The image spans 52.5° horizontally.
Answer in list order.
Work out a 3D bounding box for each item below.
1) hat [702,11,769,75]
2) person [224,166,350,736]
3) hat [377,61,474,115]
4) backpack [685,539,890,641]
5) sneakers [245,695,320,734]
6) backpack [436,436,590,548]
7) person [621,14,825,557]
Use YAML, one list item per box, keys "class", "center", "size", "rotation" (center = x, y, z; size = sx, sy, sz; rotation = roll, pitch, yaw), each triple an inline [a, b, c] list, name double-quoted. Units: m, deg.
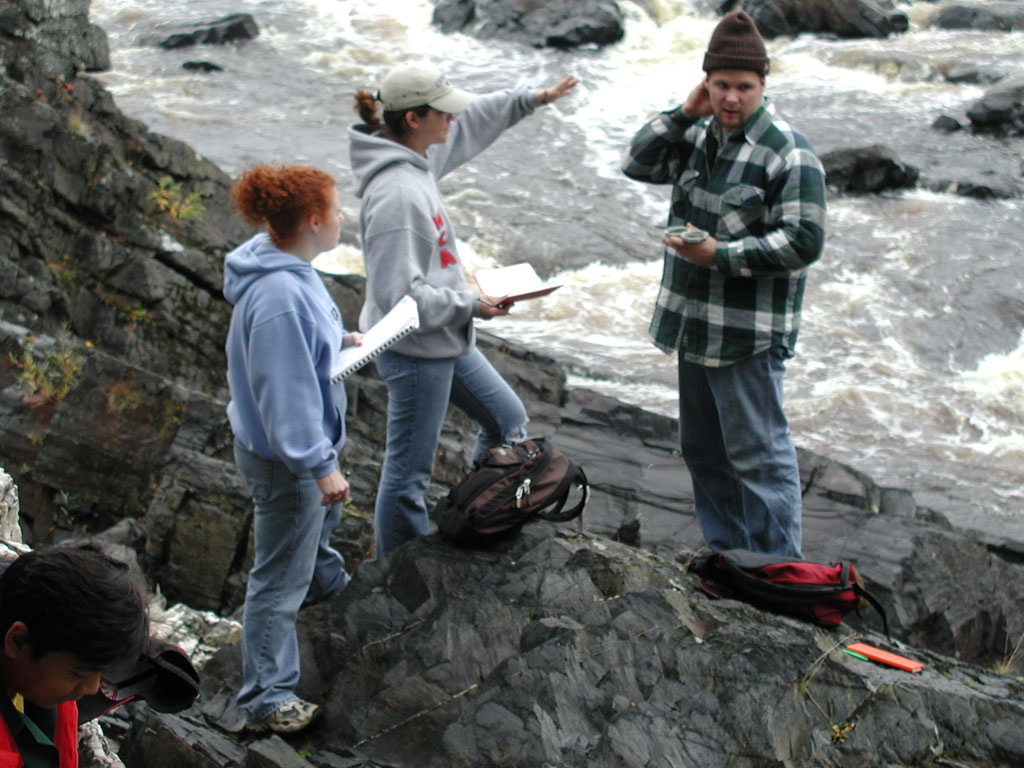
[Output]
- class: "hat"
  center: [1.355, -2.027, 6.251]
  size: [0.325, 0.282, 0.426]
  rotation: [4, -2, 4]
- class: "person"
  center: [-1.200, 0.359, 5.659]
  size: [0.724, 2.961, 1.117]
  rotation: [1, 19, -8]
- class: "hat"
  center: [-0.511, -1.712, 6.044]
  size: [0.441, 0.170, 0.278]
  rotation: [0, 28, -2]
- class: "backpack"
  center: [1.587, 1.151, 5.901]
  size: [0.795, 0.251, 0.563]
  rotation: [17, -3, 6]
- class: "sneakers"
  center: [-1.243, 1.821, 5.632]
  size: [0.324, 0.143, 0.176]
  rotation: [-9, 31, 3]
- class: "backpack"
  center: [0.047, 0.741, 6.280]
  size: [0.696, 0.326, 0.687]
  rotation: [-38, 30, -23]
- class: "person"
  center: [1.378, -0.521, 6.475]
  size: [0.648, 3.373, 1.473]
  rotation: [-15, 26, -42]
